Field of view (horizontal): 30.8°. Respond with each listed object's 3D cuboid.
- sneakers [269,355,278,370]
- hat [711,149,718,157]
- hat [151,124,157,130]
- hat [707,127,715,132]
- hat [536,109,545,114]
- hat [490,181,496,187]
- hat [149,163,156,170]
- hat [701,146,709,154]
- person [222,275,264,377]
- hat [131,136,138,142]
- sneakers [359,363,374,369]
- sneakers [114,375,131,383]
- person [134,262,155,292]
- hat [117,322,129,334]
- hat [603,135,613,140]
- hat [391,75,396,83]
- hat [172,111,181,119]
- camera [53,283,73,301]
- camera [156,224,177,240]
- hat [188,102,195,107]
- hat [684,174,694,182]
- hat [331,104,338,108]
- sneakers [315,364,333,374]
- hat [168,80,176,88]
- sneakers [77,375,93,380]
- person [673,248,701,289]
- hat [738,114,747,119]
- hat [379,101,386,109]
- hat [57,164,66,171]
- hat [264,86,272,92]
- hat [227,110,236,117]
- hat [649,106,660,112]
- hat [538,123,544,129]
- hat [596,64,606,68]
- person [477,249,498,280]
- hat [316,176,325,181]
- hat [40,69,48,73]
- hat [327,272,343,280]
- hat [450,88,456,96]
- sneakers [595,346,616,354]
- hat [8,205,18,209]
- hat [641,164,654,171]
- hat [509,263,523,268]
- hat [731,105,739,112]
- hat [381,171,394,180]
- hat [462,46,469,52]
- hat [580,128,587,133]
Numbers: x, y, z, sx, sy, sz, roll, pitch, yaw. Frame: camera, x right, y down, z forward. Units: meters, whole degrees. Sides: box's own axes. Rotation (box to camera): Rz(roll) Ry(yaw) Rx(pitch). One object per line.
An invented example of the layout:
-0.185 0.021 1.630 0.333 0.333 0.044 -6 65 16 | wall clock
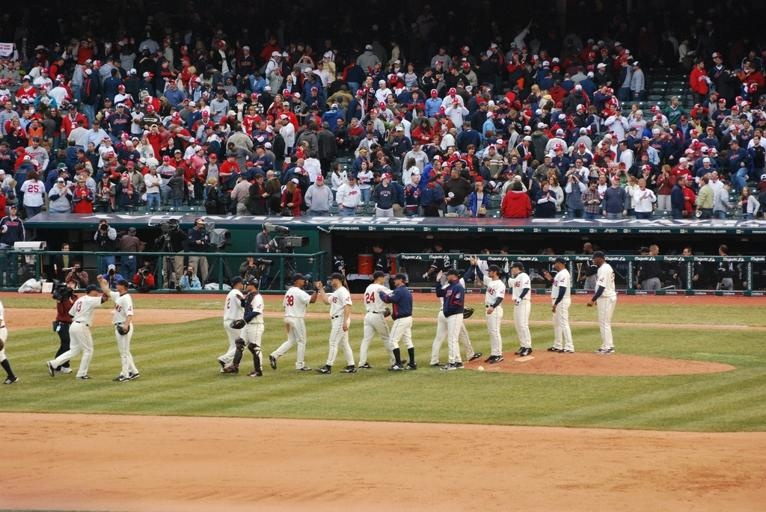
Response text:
-3.077 3.046 38.775 0.202 0.454 0.161 22 37 35 | sneakers
11.713 -3.715 49.350 0.213 0.336 0.539 -2 -2 17 | hat
-8.329 -4.729 50.197 0.211 0.239 0.566 -1 -2 -12 | hat
11.708 -4.591 49.835 0.229 0.219 0.385 -2 -2 6 | hat
5.659 -5.315 50.629 0.214 0.218 0.384 -1 -2 -13 | hat
3.882 -2.567 49.526 0.143 0.261 0.447 -2 -2 13 | hat
-8.200 -3.170 49.237 0.216 0.216 0.314 -2 -2 -2 | hat
11.361 -3.789 49.245 0.226 0.250 0.090 -1 -2 -11 | hat
-3.793 2.028 38.439 0.865 2.744 1.402 -1 -2 -6 | person
-9.082 -4.311 50.680 0.250 0.147 0.310 0 -3 -4 | hat
-0.500 3.171 39.051 0.378 0.150 0.133 2 16 -19 | sneakers
-7.085 3.415 37.768 0.537 0.214 0.176 3 2 8 | sneakers
-8.261 0.792 47.854 0.766 0.996 0.335 2 6 -3 | person
-7.039 2.003 37.317 0.283 0.139 0.226 2 19 29 | hat
7.972 -4.297 49.417 0.271 0.211 0.373 -1 25 14 | hat
0.348 -6.839 53.042 0.189 0.271 0.118 -6 7 -1 | hat
-7.644 -5.257 51.079 0.304 0.315 0.676 -1 -2 -9 | hat
-8.739 1.014 37.994 0.463 0.441 0.471 4 11 39 | camera
-7.490 -0.852 48.051 0.630 0.714 0.593 3 17 -4 | camera
-7.116 -5.668 51.422 0.267 0.192 0.195 -3 16 -15 | hat
10.646 -2.747 48.591 0.277 0.144 0.284 -1 12 -31 | hat
-1.828 -5.617 51.432 0.173 0.228 0.334 -2 -2 20 | hat
-1.677 3.215 38.554 0.461 0.206 0.183 2 6 10 | sneakers
-8.076 -6.644 52.988 0.241 0.303 0.301 -4 -10 -3 | hat
-8.182 3.388 37.955 0.402 0.163 0.131 0 1 2 | sneakers
10.411 0.576 47.912 0.852 0.952 2.862 -1 39 13 | person
13.087 -5.137 50.703 0.266 0.187 0.235 -2 -2 13 | hat
-0.047 -5.592 51.055 0.245 0.276 0.381 -3 -2 36 | hat
-11.503 -3.209 49.515 0.263 0.264 0.318 -1 -2 -13 | hat
-4.412 -6.376 52.586 0.267 0.128 0.175 -4 11 -5 | hat
-5.624 -5.289 50.978 0.325 0.157 0.241 -1 7 27 | hat
10.077 -5.511 51.807 0.458 0.223 0.326 5 9 15 | hat
5.630 -4.757 49.940 0.272 0.200 0.375 -2 -2 6 | hat
8.311 -7.319 52.947 0.332 0.113 0.204 -10 11 -24 | hat
3.324 0.327 44.763 0.869 0.457 2.003 11 -21 10 | person
-2.264 -2.749 48.962 0.263 0.146 0.413 3 9 0 | hat
-13.395 -7.357 54.620 0.188 0.231 0.241 20 14 13 | hat
-1.385 0.585 38.433 0.316 0.143 0.219 3 2 15 | hat
2.572 -6.125 51.342 0.136 0.319 0.361 -3 -2 28 | hat
6.403 2.787 40.219 0.506 0.203 0.194 2 2 -4 | sneakers
-13.163 -1.756 49.228 0.238 0.104 0.334 2 0 -13 | hat
9.138 -3.095 48.332 0.260 0.172 0.333 0 -5 5 | hat
3.820 0.299 39.732 0.289 0.183 0.342 -1 -2 -1 | hat
13.060 -5.556 51.737 0.243 0.336 0.319 5 -32 14 | hat
0.095 -2.842 48.798 0.363 0.303 0.662 -1 -2 -4 | hat
3.190 -8.148 54.219 0.291 0.156 0.416 1 16 -1 | hat
7.105 -4.485 49.419 0.231 0.205 0.215 -1 -2 -9 | hat
